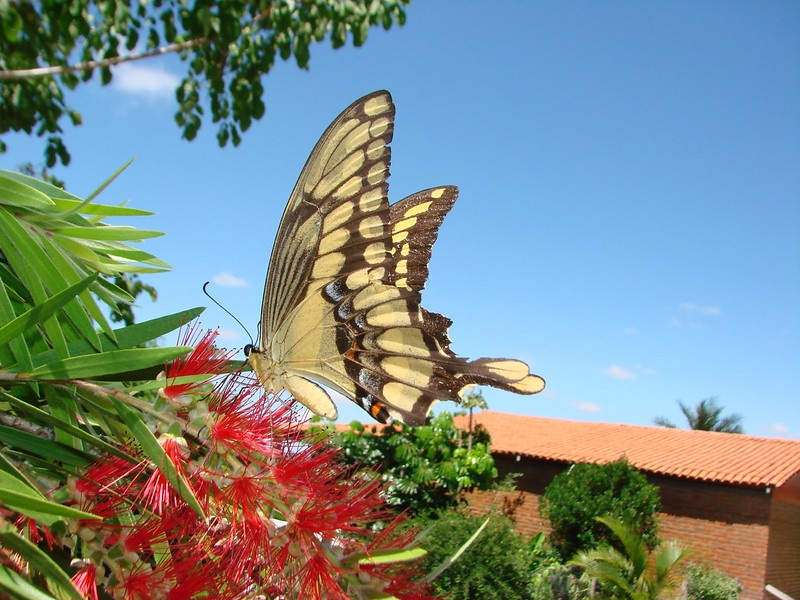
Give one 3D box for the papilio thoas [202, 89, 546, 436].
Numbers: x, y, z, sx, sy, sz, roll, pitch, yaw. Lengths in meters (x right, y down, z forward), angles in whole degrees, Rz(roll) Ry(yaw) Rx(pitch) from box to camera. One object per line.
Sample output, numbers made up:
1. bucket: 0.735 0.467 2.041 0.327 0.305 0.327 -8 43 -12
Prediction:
1. papilio thoas: -0.093 0.012 2.701 1.535 1.146 1.456 6 -19 3
